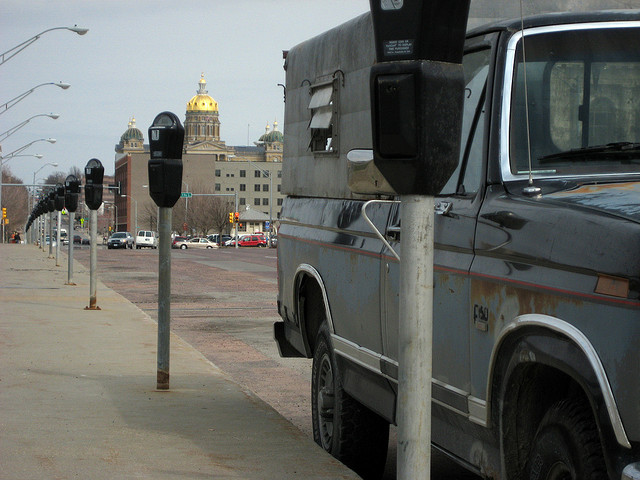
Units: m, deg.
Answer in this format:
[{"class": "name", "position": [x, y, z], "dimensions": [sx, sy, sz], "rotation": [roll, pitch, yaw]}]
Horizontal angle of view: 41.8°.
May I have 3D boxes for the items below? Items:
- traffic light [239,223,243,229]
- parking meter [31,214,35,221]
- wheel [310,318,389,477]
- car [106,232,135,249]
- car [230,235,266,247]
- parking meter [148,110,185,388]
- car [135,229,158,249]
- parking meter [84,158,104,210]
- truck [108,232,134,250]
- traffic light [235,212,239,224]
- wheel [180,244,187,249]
[{"class": "traffic light", "position": [-14.859, -2.531, 157.112], "dimensions": [0.588, 1.151, 1.474], "rotation": [-1, 5, -5]}, {"class": "parking meter", "position": [-29.393, -2.271, 85.572], "dimensions": [0.205, 0.823, 0.831], "rotation": [-2, 3, -36]}, {"class": "wheel", "position": [0.221, 1.106, 5.770], "dimensions": [0.315, 0.963, 0.929], "rotation": [-1, -27, -16]}, {"class": "car", "position": [-17.543, 0.008, 73.798], "dimensions": [1.326, 1.211, 2.900], "rotation": [-1, -8, -1]}, {"class": "car", "position": [-6.941, 0.162, 84.853], "dimensions": [2.219, 1.264, 1.332], "rotation": [3, -1, 16]}, {"class": "parking meter", "position": [-1.459, 0.110, 8.005], "dimensions": [0.330, 2.647, 0.626], "rotation": [-1, 4, -9]}, {"class": "car", "position": [-16.899, 0.007, 82.239], "dimensions": [1.637, 1.648, 3.211], "rotation": [1, 6, -3]}, {"class": "parking meter", "position": [-4.195, -0.940, 15.560], "dimensions": [0.363, 1.146, 0.274], "rotation": [-2, -8, -1]}, {"class": "truck", "position": [-17.463, 0.124, 73.675], "dimensions": [1.401, 1.132, 2.703], "rotation": [-1, -6, 1]}, {"class": "traffic light", "position": [-7.770, -2.000, 77.538], "dimensions": [0.319, 0.842, 1.560], "rotation": [-1, 5, -14]}, {"class": "wheel", "position": [-12.453, 0.611, 75.998], "dimensions": [0.374, 0.420, 0.140], "rotation": [1, 4, 7]}]
